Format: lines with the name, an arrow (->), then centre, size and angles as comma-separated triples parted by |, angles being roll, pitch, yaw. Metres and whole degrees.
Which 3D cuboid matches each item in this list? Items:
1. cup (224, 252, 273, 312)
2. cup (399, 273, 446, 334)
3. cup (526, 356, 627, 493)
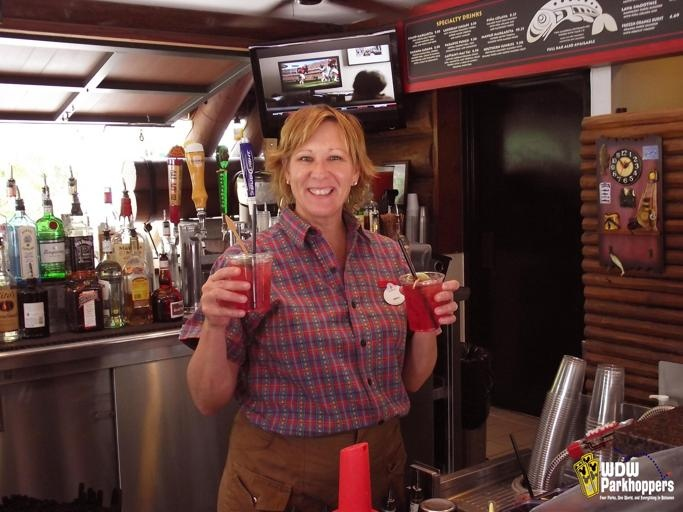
cup -> -0.220, 0.071, 1.316 | 0.119, 0.159, 0.089 | -6, 5, -35
cup -> 0.224, 0.127, 1.419 | 0.158, 0.169, 0.154 | -2, -2, 0
cup -> 0.635, 0.444, 1.376 | 0.309, 0.329, 0.194 | -7, 6, -42
